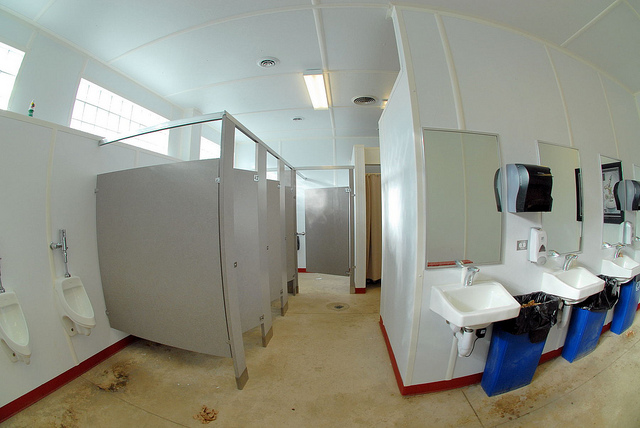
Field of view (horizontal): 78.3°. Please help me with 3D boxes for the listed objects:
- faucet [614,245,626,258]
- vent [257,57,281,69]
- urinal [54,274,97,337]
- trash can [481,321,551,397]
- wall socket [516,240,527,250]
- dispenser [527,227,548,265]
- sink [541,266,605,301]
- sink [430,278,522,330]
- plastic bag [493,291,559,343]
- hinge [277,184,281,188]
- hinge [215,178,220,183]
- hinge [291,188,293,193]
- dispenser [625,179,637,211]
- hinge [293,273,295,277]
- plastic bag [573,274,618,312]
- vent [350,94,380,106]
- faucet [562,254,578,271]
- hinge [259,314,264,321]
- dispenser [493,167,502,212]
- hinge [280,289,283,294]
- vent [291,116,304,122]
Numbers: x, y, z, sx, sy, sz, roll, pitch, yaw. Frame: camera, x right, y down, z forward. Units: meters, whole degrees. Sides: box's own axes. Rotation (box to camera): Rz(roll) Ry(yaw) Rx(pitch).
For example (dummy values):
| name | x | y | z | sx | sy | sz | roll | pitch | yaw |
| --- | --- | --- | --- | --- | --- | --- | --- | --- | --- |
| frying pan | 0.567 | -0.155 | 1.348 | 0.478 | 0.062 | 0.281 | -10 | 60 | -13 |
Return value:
| name | x | y | z | sx | sy | sz | roll | pitch | yaw |
| --- | --- | --- | --- | --- | --- | --- | --- | --- | --- |
| faucet | 3.504 | 0.435 | 4.601 | 0.137 | 0.150 | 0.060 | -4 | 4 | -34 |
| vent | -0.669 | -1.939 | 5.072 | 0.302 | 0.085 | 0.186 | -1 | 3 | 5 |
| urinal | -2.733 | 0.997 | 4.442 | 0.383 | 0.702 | 0.397 | -1 | 14 | -20 |
| trash can | 2.036 | 1.486 | 4.466 | 0.747 | 0.769 | 0.543 | 13 | 9 | -4 |
| wall socket | 2.155 | 0.330 | 4.222 | 0.110 | 0.081 | 0.015 | -1 | 1 | -4 |
| dispenser | 2.354 | 0.347 | 4.224 | 0.215 | 0.419 | 0.122 | -3 | 4 | -24 |
| sink | 2.812 | 0.779 | 4.331 | 0.700 | 0.278 | 0.363 | -4 | 10 | -28 |
| sink | 1.622 | 0.969 | 4.086 | 0.794 | 0.333 | 0.508 | -3 | 15 | -25 |
| plastic bag | 2.194 | 1.067 | 4.385 | 0.627 | 0.497 | 0.420 | 2 | 10 | -12 |
| hinge | -0.577 | -0.382 | 5.468 | 0.045 | 0.034 | 0.025 | 0 | 13 | -10 |
| hinge | -1.084 | -0.340 | 4.144 | 0.031 | 0.048 | 0.048 | 7 | 11 | 31 |
| hinge | -0.449 | -0.360 | 6.181 | 0.035 | 0.063 | 0.035 | 0 | 1 | 11 |
| dispenser | 3.632 | -0.223 | 4.594 | 0.115 | 0.360 | 0.050 | 1 | 4 | 38 |
| hinge | -0.420 | 0.970 | 6.218 | 0.025 | 0.046 | 0.026 | 1 | -1 | -24 |
| plastic bag | 3.153 | 0.924 | 4.575 | 0.387 | 0.450 | 0.447 | 8 | 5 | 0 |
| vent | 0.664 | -1.696 | 5.883 | 0.436 | 0.088 | 0.339 | -1 | 3 | 11 |
| faucet | 2.732 | 0.535 | 4.339 | 0.111 | 0.181 | 0.111 | -2 | 3 | -4 |
| hinge | -0.716 | 1.268 | 4.807 | 0.043 | 0.082 | 0.085 | 0 | 0 | 13 |
| dispenser | 1.888 | -0.255 | 4.185 | 0.071 | 0.444 | 0.032 | -1 | 4 | 12 |
| hinge | -0.537 | 1.084 | 5.470 | 0.028 | 0.048 | 0.050 | 0 | -1 | 14 |
| vent | -0.382 | -1.577 | 6.547 | 0.209 | 0.044 | 0.213 | -2 | 3 | -3 |
